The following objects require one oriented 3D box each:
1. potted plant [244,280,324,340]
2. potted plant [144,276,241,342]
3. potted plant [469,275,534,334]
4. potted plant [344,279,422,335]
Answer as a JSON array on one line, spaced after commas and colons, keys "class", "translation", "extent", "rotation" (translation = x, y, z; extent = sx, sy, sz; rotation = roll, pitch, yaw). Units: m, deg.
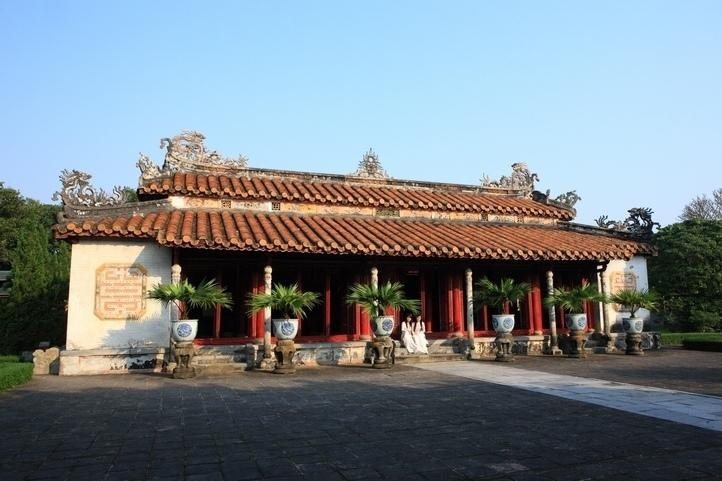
[{"class": "potted plant", "translation": [-2.234, 2.291, 17.042], "extent": [2.655, 1.641, 2.425], "rotation": [-1, -16, 0]}, {"class": "potted plant", "translation": [-5.334, 2.095, 16.615], "extent": [2.245, 1.512, 2.304], "rotation": [5, -1, -3]}, {"class": "potted plant", "translation": [4.934, 2.412, 20.012], "extent": [2.428, 2.114, 2.424], "rotation": [-6, -8, 23]}, {"class": "potted plant", "translation": [0.492, 2.140, 18.293], "extent": [2.218, 1.300, 2.054], "rotation": [3, -13, -7]}]
